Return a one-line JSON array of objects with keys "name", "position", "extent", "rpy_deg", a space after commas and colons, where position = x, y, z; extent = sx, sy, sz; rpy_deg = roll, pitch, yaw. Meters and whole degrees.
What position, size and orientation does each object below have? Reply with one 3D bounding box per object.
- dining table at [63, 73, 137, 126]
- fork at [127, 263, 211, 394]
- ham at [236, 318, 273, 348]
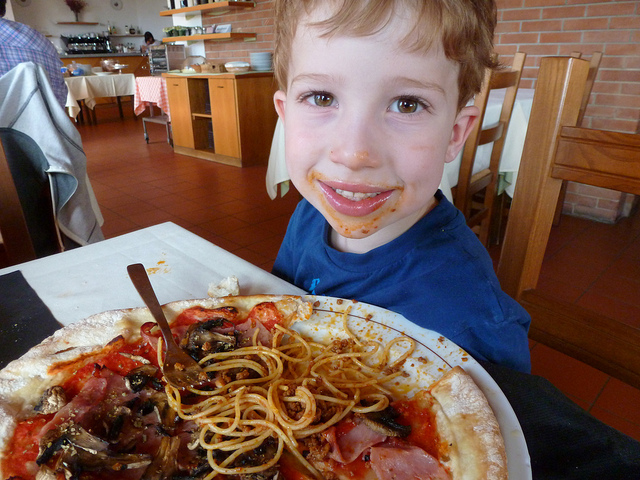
[{"name": "dining table", "position": [-3.858, -2.696, 7.972], "extent": [1.265, 0.845, 0.972], "rpy_deg": [-15, 44, -28]}, {"name": "fork", "position": [-0.337, 0.180, 0.928], "extent": [0.080, 0.045, 0.378], "rpy_deg": [-11, 40, -36]}, {"name": "ham", "position": [-0.143, 0.204, 0.977], "extent": [0.080, 0.047, 0.046], "rpy_deg": [0, 32, -4]}]
